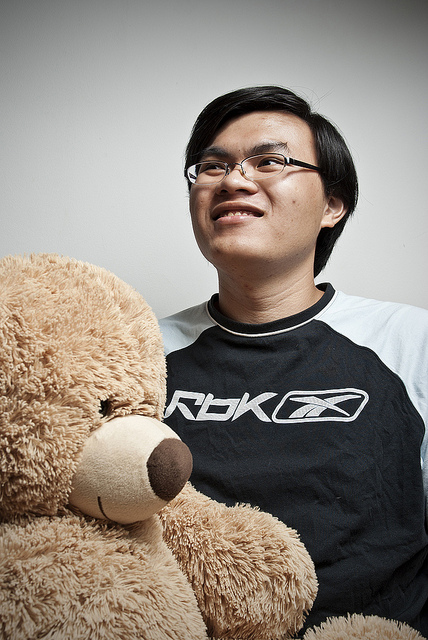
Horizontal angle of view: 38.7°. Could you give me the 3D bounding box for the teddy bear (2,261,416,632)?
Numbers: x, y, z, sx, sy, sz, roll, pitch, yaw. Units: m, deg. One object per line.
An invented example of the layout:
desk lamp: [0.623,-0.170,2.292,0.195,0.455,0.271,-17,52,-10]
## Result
teddy bear: [-0.070,0.134,0.778,0.432,0.463,0.382,-6,12,34]
